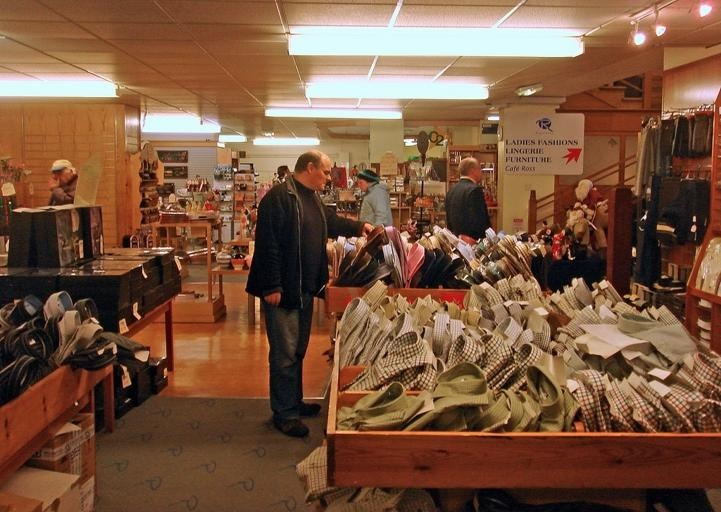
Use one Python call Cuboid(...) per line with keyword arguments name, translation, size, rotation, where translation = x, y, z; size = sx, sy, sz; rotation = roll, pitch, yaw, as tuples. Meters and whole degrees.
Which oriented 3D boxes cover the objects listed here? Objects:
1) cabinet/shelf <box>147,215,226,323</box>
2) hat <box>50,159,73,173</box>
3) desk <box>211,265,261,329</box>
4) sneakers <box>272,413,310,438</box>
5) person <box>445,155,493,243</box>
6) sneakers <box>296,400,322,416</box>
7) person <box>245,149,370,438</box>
Cuboid(name="cabinet/shelf", translation=(-2.460, 0.162, 7.389), size=(1.693, 1.189, 0.983), rotation=(-1, 8, 0))
Cuboid(name="hat", translation=(-3.663, -1.103, 6.377), size=(0.192, 0.140, 0.223), rotation=(-3, 9, -23))
Cuboid(name="desk", translation=(-1.696, 0.580, 7.033), size=(0.850, 0.541, 0.454), rotation=(0, 3, -4))
Cuboid(name="sneakers", translation=(-0.544, 1.274, 3.954), size=(0.252, 0.099, 0.123), rotation=(2, 2, 33))
Cuboid(name="person", translation=(1.356, -0.726, 6.475), size=(0.514, 1.007, 0.752), rotation=(1, 9, 5))
Cuboid(name="sneakers", translation=(-0.417, 1.248, 4.239), size=(0.167, 0.158, 0.083), rotation=(-8, 27, -19))
Cuboid(name="person", translation=(-0.480, 0.257, 4.022), size=(0.462, 2.115, 0.619), rotation=(9, 12, 44))
